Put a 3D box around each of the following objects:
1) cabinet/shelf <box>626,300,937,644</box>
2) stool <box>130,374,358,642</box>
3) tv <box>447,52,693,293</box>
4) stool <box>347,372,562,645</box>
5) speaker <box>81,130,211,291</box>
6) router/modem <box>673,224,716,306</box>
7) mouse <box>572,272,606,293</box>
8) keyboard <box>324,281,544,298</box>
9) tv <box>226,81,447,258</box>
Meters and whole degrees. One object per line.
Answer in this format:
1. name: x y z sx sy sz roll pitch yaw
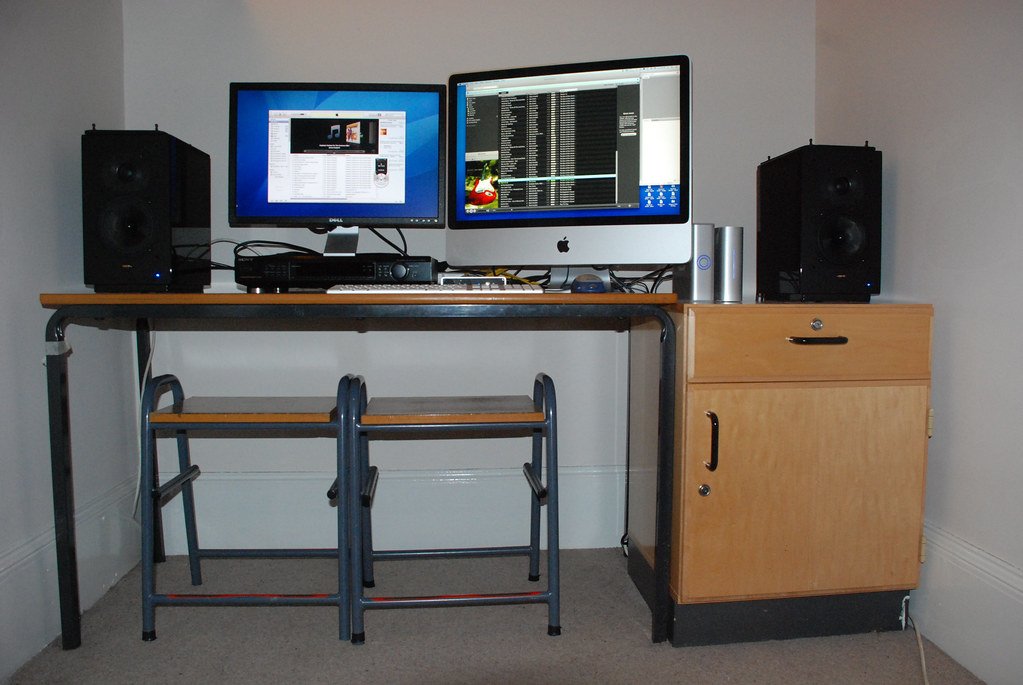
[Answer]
1. cabinet/shelf: 0.914 0.382 3.132 0.928 1.177 0.645 -1 6 -14
2. stool: -0.897 0.542 3.089 0.752 0.860 0.656 -2 5 -17
3. tv: 0.206 -0.589 3.024 0.901 0.714 0.293 0 0 5
4. stool: -0.200 0.527 3.022 0.703 0.841 0.480 -1 5 -7
5. speaker: -1.401 -0.480 3.023 0.320 0.526 0.426 -4 13 -37
6. router/modem: 0.631 -0.270 2.957 0.096 0.299 0.281 1 -1 0
7. mouse: 0.271 -0.200 2.955 0.079 0.045 0.078 0 2 -14
8. keyboard: -0.242 -0.177 2.839 0.690 0.018 0.219 0 10 -3
9. tv: -0.631 -0.651 3.128 0.701 0.489 0.079 0 3 -3
